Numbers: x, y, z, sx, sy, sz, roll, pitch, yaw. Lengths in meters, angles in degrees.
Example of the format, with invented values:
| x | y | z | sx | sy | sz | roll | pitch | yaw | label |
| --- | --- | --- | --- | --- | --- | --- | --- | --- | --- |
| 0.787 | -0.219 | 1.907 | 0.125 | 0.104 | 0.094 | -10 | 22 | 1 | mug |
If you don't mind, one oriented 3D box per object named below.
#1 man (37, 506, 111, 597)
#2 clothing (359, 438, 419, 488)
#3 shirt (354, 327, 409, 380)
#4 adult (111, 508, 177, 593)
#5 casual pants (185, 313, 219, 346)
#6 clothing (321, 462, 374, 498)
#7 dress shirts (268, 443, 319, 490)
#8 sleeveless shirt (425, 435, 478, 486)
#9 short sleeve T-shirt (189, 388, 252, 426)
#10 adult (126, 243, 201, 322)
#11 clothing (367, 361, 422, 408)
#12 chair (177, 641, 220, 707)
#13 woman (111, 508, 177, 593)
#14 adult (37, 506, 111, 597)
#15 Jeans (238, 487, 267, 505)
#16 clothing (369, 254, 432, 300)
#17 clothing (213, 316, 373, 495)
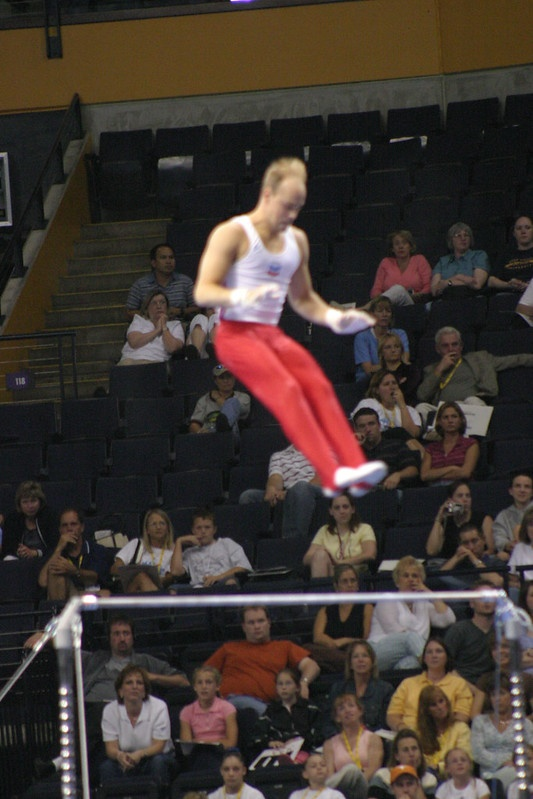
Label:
| x | y | z | sx | sy | sz | roll | pitch | yaw | label |
| --- | --- | --- | --- | --- | --- | --- | --- | --- | --- |
| -1.385 | 1.095 | 12.453 | 0.363 | 0.594 | 0.371 | -12 | -43 | -3 | man |
| 0.892 | 0.473 | 12.871 | 0.375 | 0.366 | 0.147 | -26 | -23 | -2 | clothing |
| 0.871 | -0.361 | 13.870 | 0.378 | 0.425 | 0.441 | -7 | -4 | -3 | shirt |
| -0.835 | 1.085 | 12.358 | 0.493 | 0.635 | 0.369 | 9 | 3 | 10 | adult |
| -0.551 | -0.632 | 14.894 | 0.182 | 0.477 | 0.192 | 4 | -38 | 8 | casual pants |
| 0.397 | 0.390 | 8.601 | 0.215 | 0.170 | 0.336 | 0 | 1 | -14 | clothing |
| 0.177 | 0.490 | 13.029 | 0.285 | 0.122 | 0.312 | -10 | 35 | -15 | dress shirts |
| 1.340 | 0.455 | 12.783 | 0.316 | 0.288 | 0.180 | -5 | -37 | 20 | sleeveless shirt |
| -0.402 | 0.065 | 14.122 | 0.417 | 0.284 | 0.506 | 12 | 12 | 9 | short sleeve T-shirt |
| -0.891 | -1.025 | 15.484 | 0.741 | 0.671 | 0.405 | -4 | 6 | -19 | adult |
| 0.983 | -0.161 | 13.574 | 0.279 | 0.291 | 0.347 | 6 | -18 | 4 | clothing |
| -0.482 | 1.741 | 11.487 | 0.271 | 0.343 | 0.350 | 0 | -6 | 12 | chair |
| -0.839 | 1.085 | 12.360 | 0.474 | 0.645 | 0.368 | 9 | 7 | 4 | woman |
| -1.378 | 1.180 | 12.447 | 0.483 | 0.764 | 0.393 | 0 | -5 | -41 | adult |
| -0.109 | 0.720 | 13.055 | 0.170 | 0.062 | 0.092 | -1 | 28 | -12 | Jeans |
| 1.143 | -1.049 | 15.017 | 0.358 | 0.190 | 0.488 | -4 | 10 | 10 | clothing |
| 0.115 | 0.016 | 8.767 | 0.796 | 0.835 | 0.385 | 0 | 1 | 14 | clothing |
